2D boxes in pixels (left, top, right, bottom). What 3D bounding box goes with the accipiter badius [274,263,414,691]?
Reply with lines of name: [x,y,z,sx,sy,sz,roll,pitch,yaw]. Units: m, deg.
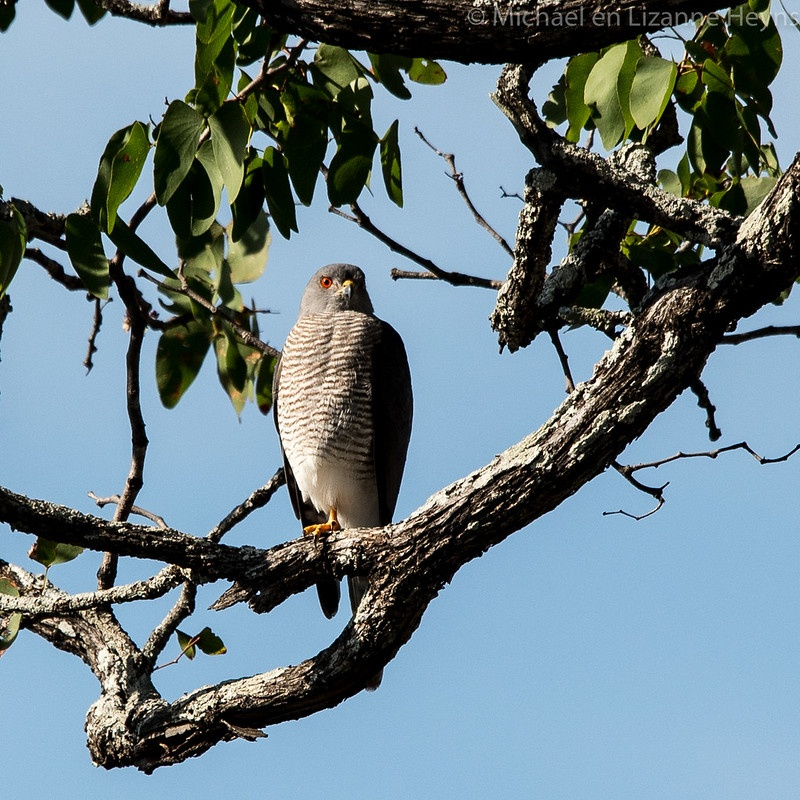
accipiter badius: [-0.243,0.316,8.621,0.645,2.933,0.882,1,-46,-4]
